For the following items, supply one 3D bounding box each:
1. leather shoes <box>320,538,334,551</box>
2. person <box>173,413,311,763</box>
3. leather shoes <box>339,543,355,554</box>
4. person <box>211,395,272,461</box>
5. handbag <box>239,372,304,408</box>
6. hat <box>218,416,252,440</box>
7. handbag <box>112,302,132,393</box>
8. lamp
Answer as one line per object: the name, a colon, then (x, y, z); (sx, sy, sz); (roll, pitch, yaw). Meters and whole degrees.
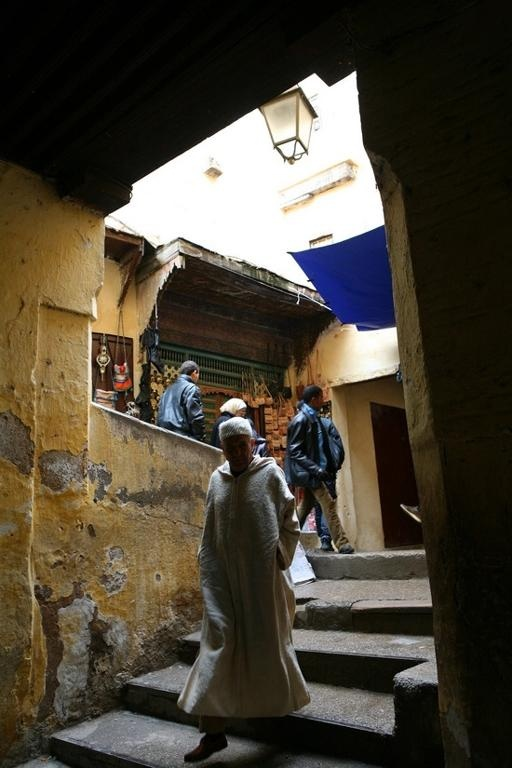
leather shoes: (0.707, 1.617, 6.698); (0.114, 0.195, 0.188); (1, -7, 2)
person: (-0.077, 0.829, 3.121); (0.569, 1.328, 0.540); (-3, -8, 4)
leather shoes: (0.809, 1.467, 5.893); (0.063, 0.065, 0.141); (-1, -6, -3)
person: (-0.141, 0.325, 5.273); (0.516, 0.758, 0.518); (-4, -8, 2)
handbag: (0.299, 0.121, 8.923); (0.349, 0.487, 1.157); (-14, -21, 36)
hat: (-0.099, 0.221, 3.287); (0.117, 0.078, 0.121); (0, -3, 5)
handbag: (-1.388, -0.315, 6.959); (0.140, 1.043, 0.373); (-6, -9, 24)
lamp: (0.273, -2.220, 5.808); (0.395, 0.533, 0.599); (-6, -9, 19)
